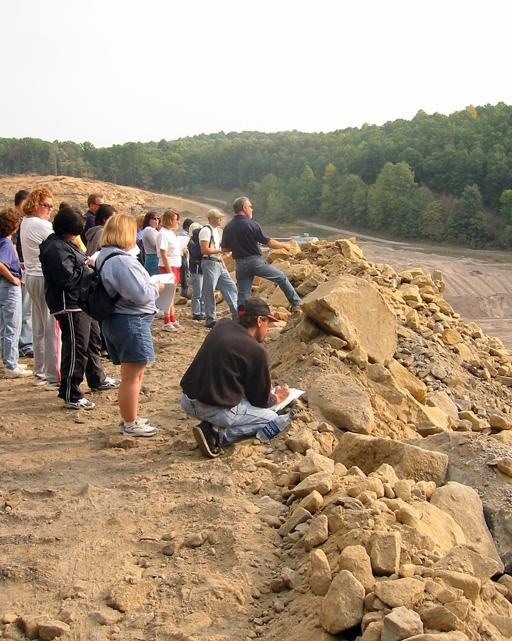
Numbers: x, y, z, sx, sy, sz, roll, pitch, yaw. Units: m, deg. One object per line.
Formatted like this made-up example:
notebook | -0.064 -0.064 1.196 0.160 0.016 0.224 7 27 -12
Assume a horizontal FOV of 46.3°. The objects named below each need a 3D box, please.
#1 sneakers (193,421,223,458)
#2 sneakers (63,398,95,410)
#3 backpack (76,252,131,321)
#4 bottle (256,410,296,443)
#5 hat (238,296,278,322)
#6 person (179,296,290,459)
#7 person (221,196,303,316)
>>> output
sneakers | -0.351 0.880 4.426 0.214 0.257 0.159 -6 13 -13
sneakers | -1.634 0.753 5.531 0.272 0.110 0.102 -1 6 -12
backpack | -1.188 -0.267 4.527 0.366 0.522 0.244 5 15 33
bottle | 0.154 0.816 4.651 0.348 0.119 0.134 -33 12 -13
hat | 0.011 -0.082 4.554 0.248 0.121 0.157 -3 8 -29
person | -0.153 0.449 4.681 0.896 1.189 0.818 14 7 -5
person | 0.011 -0.898 7.746 0.876 1.385 0.502 -5 13 -8
